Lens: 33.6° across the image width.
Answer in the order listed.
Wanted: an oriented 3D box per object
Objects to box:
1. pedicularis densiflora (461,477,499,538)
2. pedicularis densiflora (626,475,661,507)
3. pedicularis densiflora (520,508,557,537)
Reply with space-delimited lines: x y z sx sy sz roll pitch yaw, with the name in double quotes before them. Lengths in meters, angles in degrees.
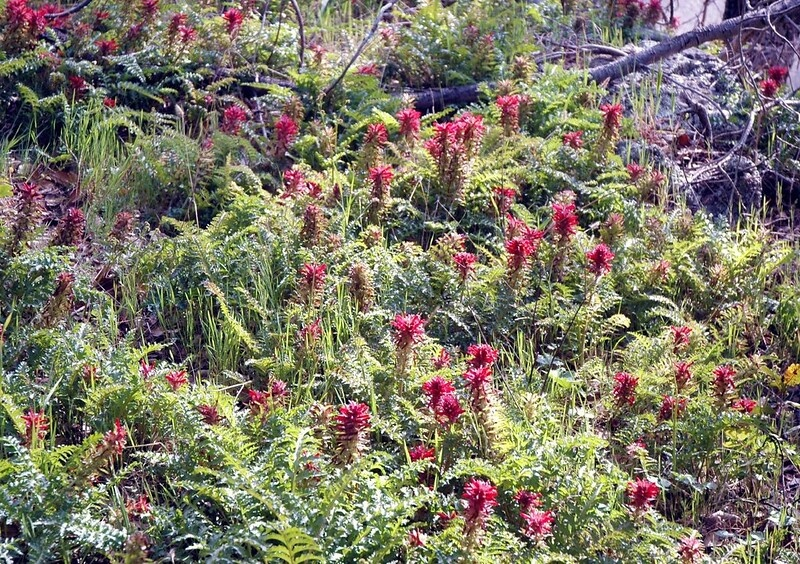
"pedicularis densiflora" 0.487 1.359 8.069 0.295 0.247 0.245 16 12 -27
"pedicularis densiflora" 1.519 1.309 8.303 0.163 0.155 0.169 19 25 35
"pedicularis densiflora" 0.835 1.458 8.154 0.193 0.145 0.199 25 12 12
